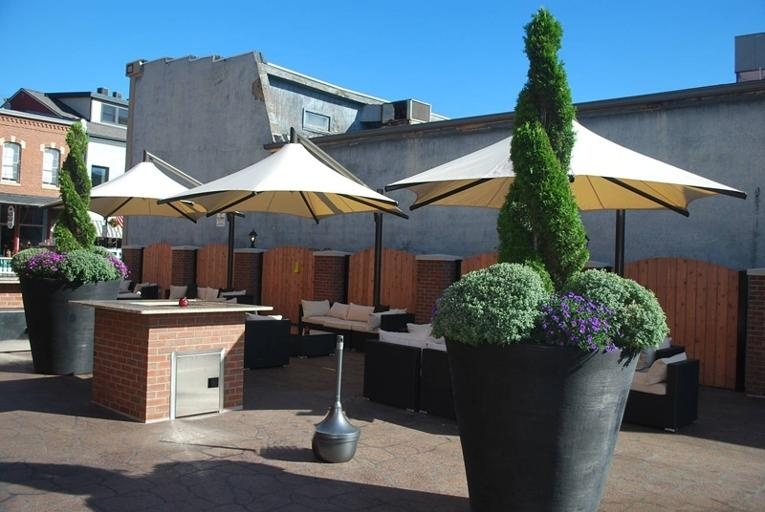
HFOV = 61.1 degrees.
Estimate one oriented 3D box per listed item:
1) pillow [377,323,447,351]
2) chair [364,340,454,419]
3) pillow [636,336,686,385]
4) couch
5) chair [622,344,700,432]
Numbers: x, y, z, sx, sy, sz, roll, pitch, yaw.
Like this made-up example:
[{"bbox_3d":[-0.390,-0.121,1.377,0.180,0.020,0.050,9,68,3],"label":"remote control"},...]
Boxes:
[{"bbox_3d":[0.603,1.476,11.648,0.824,0.253,0.826,4,5,22],"label":"pillow"},{"bbox_3d":[0.489,2.086,11.360,1.935,1.280,1.056,2,3,41],"label":"chair"},{"bbox_3d":[4.786,1.841,11.254,0.937,0.907,0.596,5,3,18],"label":"pillow"},{"bbox_3d":[-1.082,1.650,17.314,2.785,1.128,1.008,-1,-7,45],"label":"couch"},{"bbox_3d":[4.937,2.245,11.312,1.357,1.333,1.013,5,2,26],"label":"chair"}]
